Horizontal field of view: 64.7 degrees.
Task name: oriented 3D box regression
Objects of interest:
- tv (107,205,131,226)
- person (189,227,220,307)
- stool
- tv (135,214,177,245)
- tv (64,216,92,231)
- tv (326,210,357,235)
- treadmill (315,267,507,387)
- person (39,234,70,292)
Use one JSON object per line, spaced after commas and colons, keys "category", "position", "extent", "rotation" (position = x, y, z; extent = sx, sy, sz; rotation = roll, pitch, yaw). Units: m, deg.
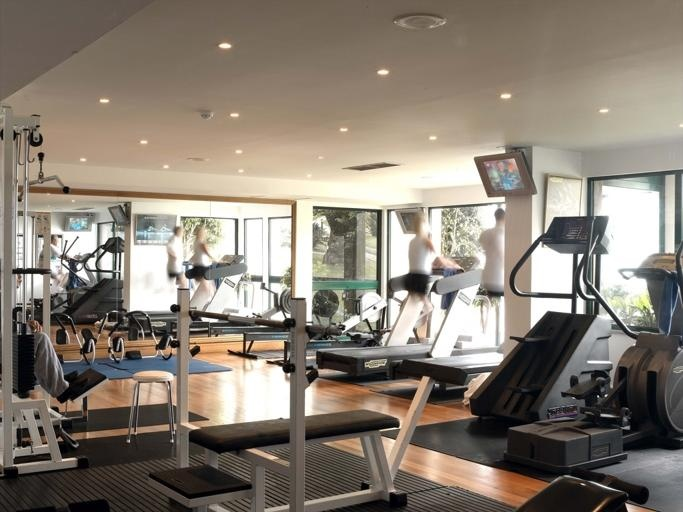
{"category": "tv", "position": [-3.812, -0.691, 9.182], "extent": [0.049, 0.408, 0.331], "rotation": [-25, -4, 34]}
{"category": "person", "position": [-2.501, 0.186, 9.781], "extent": [0.464, 1.490, 0.265], "rotation": [-1, 1, -13]}
{"category": "stool", "position": [-1.791, 1.413, 5.119], "extent": [0.533, 0.551, 0.501], "rotation": [1, -8, 7]}
{"category": "tv", "position": [-3.296, -0.455, 9.464], "extent": [0.606, 0.393, 0.060], "rotation": [1, -8, -38]}
{"category": "tv", "position": [-4.264, -0.524, 8.674], "extent": [0.274, 0.175, 0.037], "rotation": [3, -17, -34]}
{"category": "tv", "position": [0.004, -0.741, 11.719], "extent": [0.773, 0.549, 0.142], "rotation": [-2, 1, -43]}
{"category": "treadmill", "position": [1.006, 1.059, 8.191], "extent": [2.807, 1.537, 1.386], "rotation": [3, -3, -33]}
{"category": "person", "position": [-4.433, 0.129, 8.470], "extent": [0.253, 0.684, 0.623], "rotation": [-2, 1, -27]}
